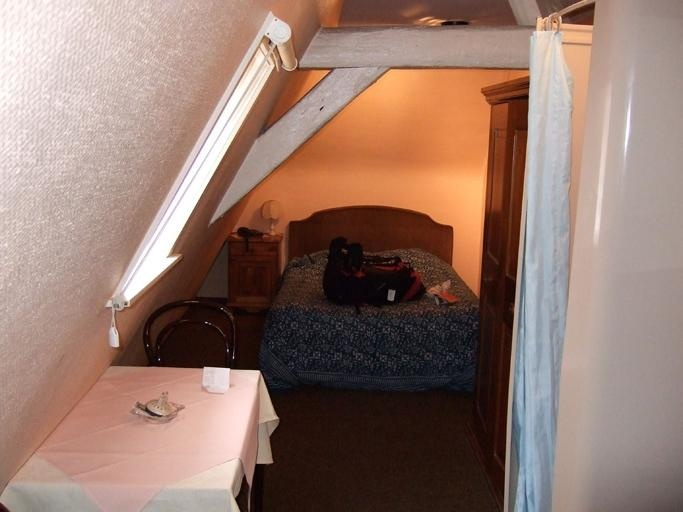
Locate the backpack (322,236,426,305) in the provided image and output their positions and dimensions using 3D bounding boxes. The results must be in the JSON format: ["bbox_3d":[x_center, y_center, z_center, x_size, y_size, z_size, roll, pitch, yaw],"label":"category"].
[{"bbox_3d":[0.220,0.086,4.106,0.613,0.467,0.469,2,2,-2],"label":"backpack"}]

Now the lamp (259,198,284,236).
[{"bbox_3d":[-0.697,-0.390,5.443,0.240,0.333,0.233,-7,11,-37],"label":"lamp"}]

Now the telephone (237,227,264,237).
[{"bbox_3d":[-0.889,-0.233,5.280,0.248,0.080,0.164,-1,12,-8],"label":"telephone"}]

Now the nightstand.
[{"bbox_3d":[-0.884,0.145,5.435,0.524,0.771,0.391,0,14,-11],"label":"nightstand"}]

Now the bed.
[{"bbox_3d":[0.185,0.462,4.533,1.310,0.986,1.670,1,18,2],"label":"bed"}]
